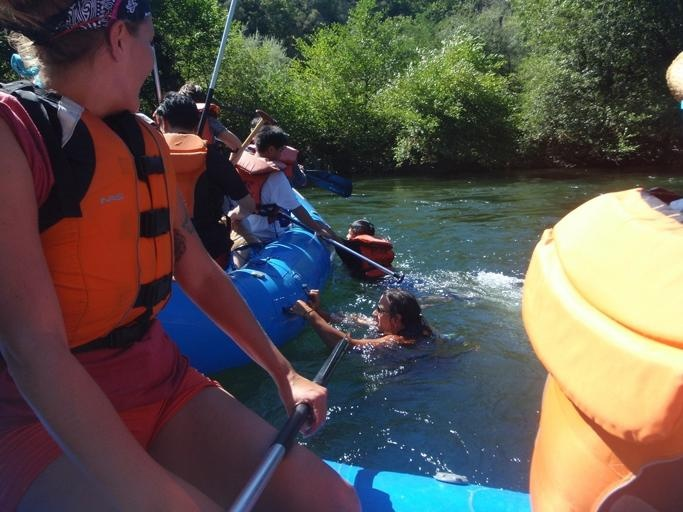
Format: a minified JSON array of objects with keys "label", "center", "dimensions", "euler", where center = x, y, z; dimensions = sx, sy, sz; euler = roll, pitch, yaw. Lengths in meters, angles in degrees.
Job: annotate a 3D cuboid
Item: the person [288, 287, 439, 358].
[{"label":"person","center":[0.199,0.497,4.023],"dimensions":[0.690,0.317,0.525],"euler":[4,-2,13]}]
